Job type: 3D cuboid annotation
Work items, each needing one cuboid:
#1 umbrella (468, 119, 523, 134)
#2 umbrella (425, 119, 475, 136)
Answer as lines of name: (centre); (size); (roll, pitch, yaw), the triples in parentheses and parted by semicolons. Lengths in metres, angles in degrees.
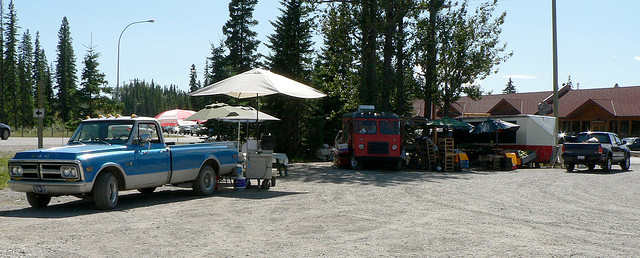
umbrella: (20.034, -0.408, 60.276); (4.912, 1.426, 1.621); (-1, -3, -9)
umbrella: (14.690, -0.563, 61.042); (4.606, 1.087, 2.629); (0, -3, -27)
